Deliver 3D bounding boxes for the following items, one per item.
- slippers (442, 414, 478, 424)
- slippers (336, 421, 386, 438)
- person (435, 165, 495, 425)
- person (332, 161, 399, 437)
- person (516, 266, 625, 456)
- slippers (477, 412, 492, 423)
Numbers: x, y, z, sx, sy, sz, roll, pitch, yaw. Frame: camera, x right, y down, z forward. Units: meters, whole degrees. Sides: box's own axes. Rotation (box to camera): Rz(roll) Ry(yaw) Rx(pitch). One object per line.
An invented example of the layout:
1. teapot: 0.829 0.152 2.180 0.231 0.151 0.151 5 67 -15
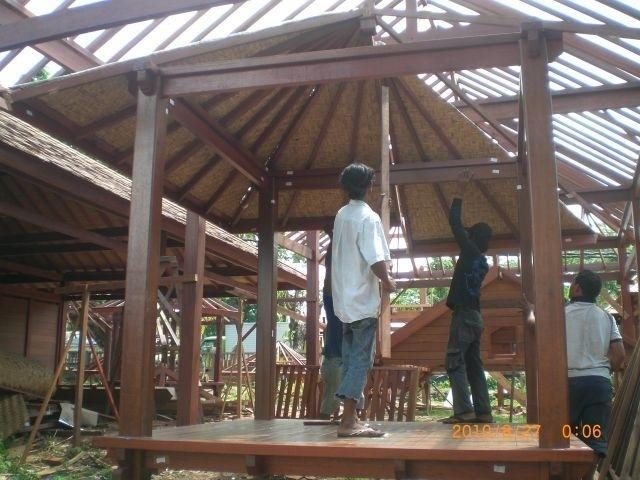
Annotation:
1. slippers: 1.453 1.856 6.442 0.348 0.117 0.131 -3 -15 22
2. slippers: 0.375 1.739 5.639 0.389 0.166 0.172 -2 -20 2
3. person: 1.541 0.607 6.460 0.575 2.483 0.767 -4 -15 10
4. person: 0.410 0.518 5.712 0.631 2.464 0.442 -7 -16 21
5. person: 2.722 1.179 6.225 0.612 1.874 0.567 -4 -15 11
6. slippers: 1.672 1.800 6.295 0.097 0.118 0.133 1 -29 -1
